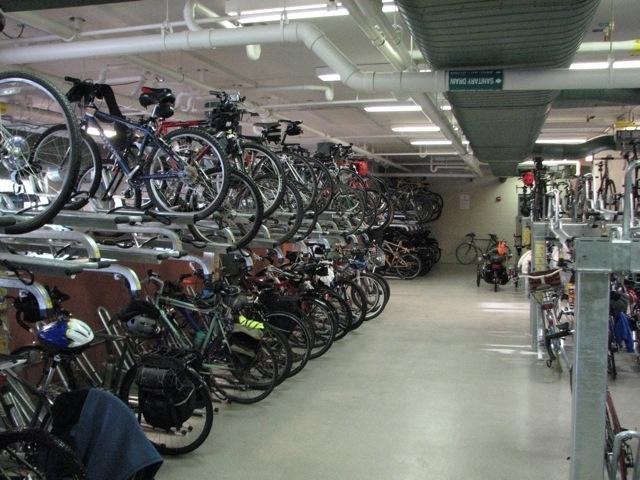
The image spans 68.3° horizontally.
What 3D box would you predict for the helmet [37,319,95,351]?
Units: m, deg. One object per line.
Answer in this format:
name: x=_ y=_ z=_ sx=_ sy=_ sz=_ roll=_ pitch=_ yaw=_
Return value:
helmet: x=-1.678 y=0.622 z=3.095 sx=0.315 sy=0.200 sz=0.202 roll=-2 pitch=5 yaw=-28
